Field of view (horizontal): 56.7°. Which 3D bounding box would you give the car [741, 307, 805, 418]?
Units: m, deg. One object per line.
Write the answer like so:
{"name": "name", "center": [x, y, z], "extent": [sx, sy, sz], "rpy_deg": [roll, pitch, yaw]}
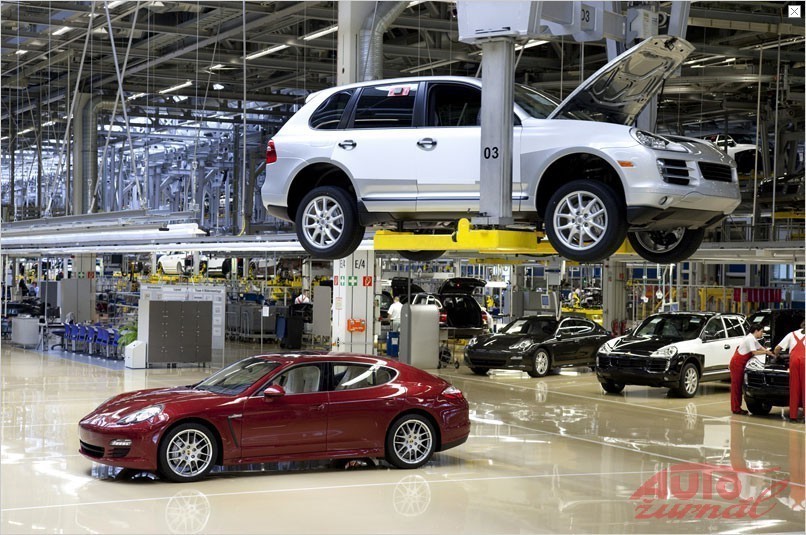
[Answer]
{"name": "car", "center": [8.566, 2.227, 18.004], "extent": [1.669, 1.996, 3.660], "rpy_deg": [-2, -6, 23]}

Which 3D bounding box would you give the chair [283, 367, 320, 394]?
{"name": "chair", "center": [-1.519, 1.702, 11.308], "extent": [0.542, 0.433, 0.374], "rpy_deg": [4, 12, -17]}

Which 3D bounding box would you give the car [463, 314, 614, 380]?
{"name": "car", "center": [3.854, 2.267, 21.783], "extent": [4.254, 1.338, 1.769], "rpy_deg": [4, -5, -38]}

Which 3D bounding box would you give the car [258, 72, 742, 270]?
{"name": "car", "center": [1.262, -1.414, 11.016], "extent": [6.301, 2.520, 1.845], "rpy_deg": [2, 0, 21]}

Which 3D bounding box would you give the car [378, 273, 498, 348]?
{"name": "car", "center": [0.952, 1.601, 28.172], "extent": [4.256, 1.902, 2.440], "rpy_deg": [1, -1, 42]}
